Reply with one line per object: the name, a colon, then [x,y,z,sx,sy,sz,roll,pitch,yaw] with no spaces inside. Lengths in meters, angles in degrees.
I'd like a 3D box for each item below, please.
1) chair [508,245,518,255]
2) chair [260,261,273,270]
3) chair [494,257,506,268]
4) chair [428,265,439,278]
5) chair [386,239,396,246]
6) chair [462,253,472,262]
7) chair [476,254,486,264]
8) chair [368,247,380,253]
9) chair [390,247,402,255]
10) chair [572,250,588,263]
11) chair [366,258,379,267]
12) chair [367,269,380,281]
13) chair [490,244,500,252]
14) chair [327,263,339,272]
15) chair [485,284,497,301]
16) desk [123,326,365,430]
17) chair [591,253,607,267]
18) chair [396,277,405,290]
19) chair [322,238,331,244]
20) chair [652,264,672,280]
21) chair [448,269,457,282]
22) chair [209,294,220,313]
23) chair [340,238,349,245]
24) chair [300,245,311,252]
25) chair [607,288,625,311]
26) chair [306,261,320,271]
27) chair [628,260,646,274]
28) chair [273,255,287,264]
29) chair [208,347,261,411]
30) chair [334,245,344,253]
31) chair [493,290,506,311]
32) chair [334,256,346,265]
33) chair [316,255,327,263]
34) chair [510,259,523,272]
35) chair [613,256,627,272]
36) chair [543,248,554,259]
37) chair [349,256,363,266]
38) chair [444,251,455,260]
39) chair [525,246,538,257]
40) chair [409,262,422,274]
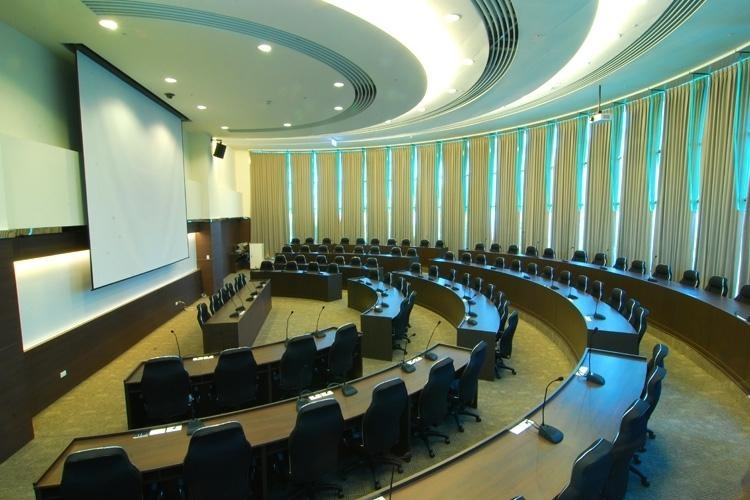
chair: [4.054,0.025,15.385,0.243,0.236,0.245,5,12,29]
chair: [-3.108,0.456,15.141,0.315,0.244,0.226,-1,6,-11]
chair: [3.394,0.371,14.134,0.193,0.296,0.264,-1,6,24]
chair: [1.504,0.608,13.883,0.239,0.366,0.297,-3,3,22]
chair: [0.589,-0.229,18.308,0.205,0.166,0.213,-2,6,-1]
chair: [2.604,0.230,14.845,0.221,0.232,0.229,2,7,17]
chair: [3.014,0.296,14.872,0.254,0.311,0.272,-2,-1,17]
chair: [-0.005,0.023,17.898,0.241,0.247,0.245,2,-3,7]
chair: [0.669,0.053,16.346,0.230,0.246,0.243,2,5,16]
chair: [5.442,0.200,13.934,0.257,0.399,0.333,-2,4,35]
chair: [-0.060,0.398,15.510,0.261,0.274,0.240,3,3,17]
chair: [-0.022,0.678,14.148,0.238,0.351,0.291,-1,0,17]
chair: [3.640,-0.028,15.897,0.214,0.228,0.223,-1,-4,25]
chair: [-1.198,0.543,15.148,0.261,0.275,0.254,3,-1,13]
chair: [2.663,0.982,11.974,0.314,0.387,0.259,-3,1,-30]
desk: [-2.386,2.449,9.185,3.269,1.272,0.975,-6,6,-19]
chair: [5.689,0.283,13.312,0.287,0.437,0.355,-1,2,45]
chair: [0.644,0.875,13.187,0.224,0.328,0.261,-4,-1,31]
chair: [-1.719,-0.270,18.963,0.185,0.265,0.227,4,14,6]
chair: [6.374,0.521,11.639,0.385,0.472,0.328,6,-3,-44]
chair: [1.969,0.680,13.409,0.255,0.459,0.251,-2,1,4]
chair: [-3.511,1.175,11.433,0.297,0.399,0.270,0,2,14]
chair: [-1.102,-0.283,19.129,0.224,0.263,0.235,1,0,8]
chair: [-2.395,0.000,18.068,0.220,0.206,0.232,1,7,5]
chair: [4.975,1.027,10.743,0.376,0.462,0.312,-3,4,-17]
chair: [-1.770,0.487,15.220,0.230,0.246,0.244,2,-1,8]
chair: [6.204,0.421,12.314,0.273,0.414,0.337,-1,3,44]
chair: [-2.860,0.303,15.970,0.294,0.227,0.303,2,8,6]
chair: [-2.274,2.143,9.053,0.781,1.331,1.066,1,2,-13]
chair: [-1.235,-0.003,18.250,0.254,0.280,0.278,1,4,9]
chair: [2.664,1.090,11.047,0.303,0.388,0.259,0,-7,-27]
chair: [-1.091,0.354,16.642,0.237,0.255,0.250,2,4,10]
chair: [-1.651,0.318,16.323,0.228,0.217,0.242,-1,-7,-1]
chair: [3.711,0.428,13.676,0.256,0.375,0.309,0,4,27]
chair: [6.027,0.360,12.801,0.324,0.414,0.275,0,0,-42]
chair: [4.804,0.120,14.453,0.218,0.320,0.285,-2,2,32]
chair: [-0.554,0.369,15.895,0.248,0.231,0.260,2,9,5]
chair: [2.192,0.181,15.263,0.200,0.302,0.237,3,7,21]
chair: [4.494,0.070,15.014,0.253,0.348,0.284,-1,-1,19]
chair: [1.113,0.514,14.246,0.252,0.304,0.266,-1,3,15]
